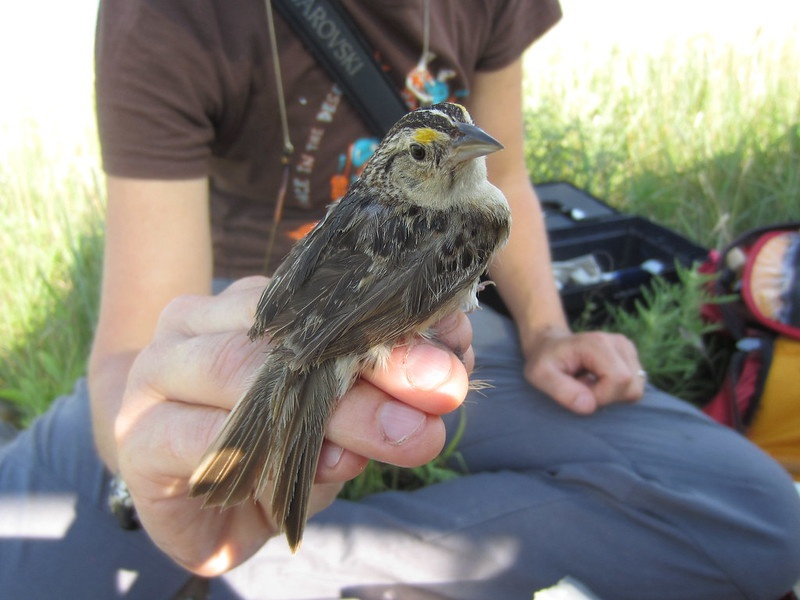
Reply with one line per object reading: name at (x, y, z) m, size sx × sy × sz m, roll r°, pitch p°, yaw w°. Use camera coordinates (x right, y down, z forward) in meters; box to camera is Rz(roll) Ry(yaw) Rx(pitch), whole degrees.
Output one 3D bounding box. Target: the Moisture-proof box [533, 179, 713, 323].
Moisture-proof box at (1.492, -0.346, 4.561) m, size 1.007 × 0.363 × 0.696 m, roll -14°, pitch 36°, yaw -20°
